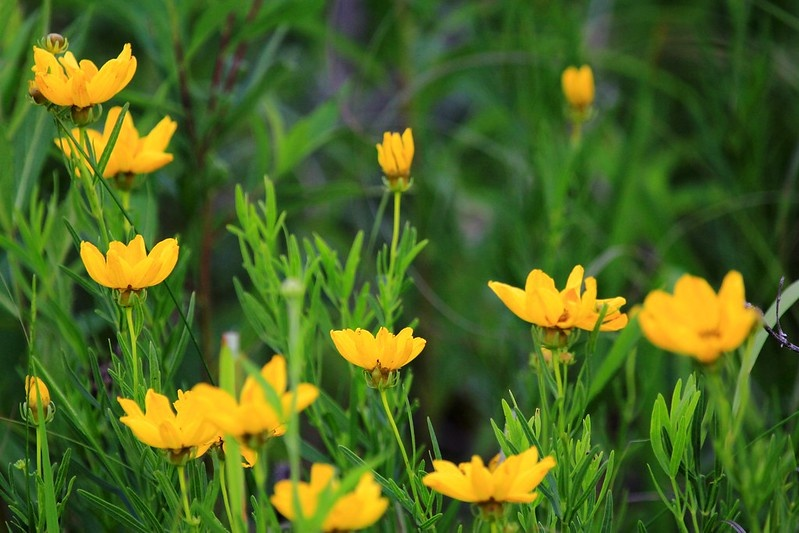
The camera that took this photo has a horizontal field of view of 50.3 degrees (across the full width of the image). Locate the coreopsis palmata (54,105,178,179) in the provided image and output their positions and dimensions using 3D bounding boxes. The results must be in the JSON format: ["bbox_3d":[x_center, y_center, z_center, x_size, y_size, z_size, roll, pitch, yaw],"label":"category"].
[{"bbox_3d":[-0.230,-0.112,0.711,0.089,0.048,0.113,16,3,14],"label":"coreopsis palmata"}]

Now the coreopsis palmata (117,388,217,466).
[{"bbox_3d":[-0.149,0.111,0.574,0.065,0.045,0.076,-2,6,-7],"label":"coreopsis palmata"}]

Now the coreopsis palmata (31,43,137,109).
[{"bbox_3d":[-0.237,-0.131,0.620,0.052,0.038,0.054,1,0,-12],"label":"coreopsis palmata"}]

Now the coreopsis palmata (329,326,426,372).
[{"bbox_3d":[-0.015,0.064,0.660,0.045,0.035,0.062,4,-13,7],"label":"coreopsis palmata"}]

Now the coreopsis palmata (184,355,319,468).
[{"bbox_3d":[-0.090,0.074,0.523,0.084,0.066,0.104,-2,0,11],"label":"coreopsis palmata"}]
